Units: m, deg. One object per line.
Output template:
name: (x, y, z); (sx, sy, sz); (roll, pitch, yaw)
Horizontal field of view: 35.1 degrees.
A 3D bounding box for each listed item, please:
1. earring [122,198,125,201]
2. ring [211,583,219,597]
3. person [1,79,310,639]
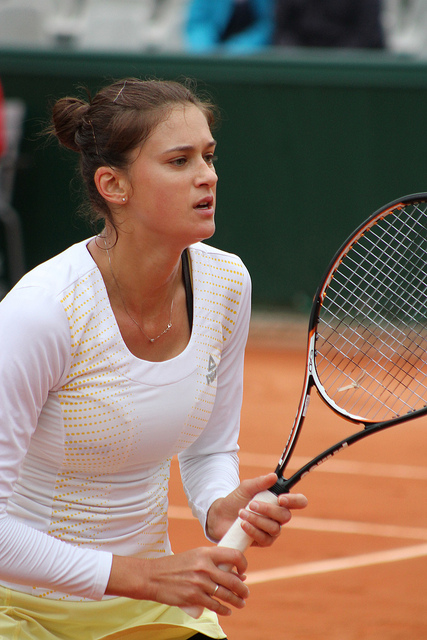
earring: (-0.174, -0.234, 1.323); (0.005, 0.005, 0.001); (-4, 7, 6)
ring: (0.004, 0.508, 1.272); (0.005, 0.018, 0.019); (27, 21, 4)
person: (-0.165, 0.112, 1.419); (0.580, 1.198, 0.491); (-4, 7, -8)
